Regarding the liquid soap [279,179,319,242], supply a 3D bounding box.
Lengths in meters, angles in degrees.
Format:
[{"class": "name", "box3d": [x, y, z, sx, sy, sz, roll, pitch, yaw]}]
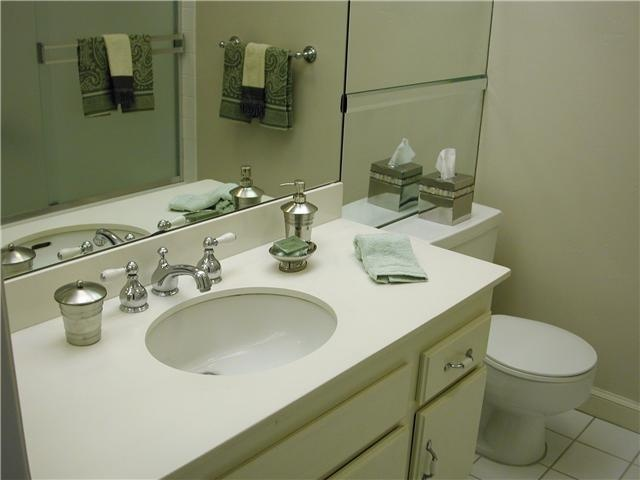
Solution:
[{"class": "liquid soap", "box3d": [-0.067, -0.093, 1.537, 0.103, 0.189, 0.144, -1, 23, -5]}]

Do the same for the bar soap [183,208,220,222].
[{"class": "bar soap", "box3d": [-0.336, -0.077, 1.424, 0.064, 0.014, 0.034, -19, 30, -39]}]

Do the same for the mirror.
[{"class": "mirror", "box3d": [-0.207, -0.267, 1.426, 1.068, 1.194, 0.019, 2, 19, 1]}]

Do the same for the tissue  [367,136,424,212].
[{"class": "tissue ", "box3d": [0.289, -0.270, 2.011, 0.185, 0.359, 0.190, 15, 25, 35]}]

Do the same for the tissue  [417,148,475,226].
[{"class": "tissue ", "box3d": [0.506, -0.213, 2.077, 0.193, 0.366, 0.190, -25, 33, -39]}]

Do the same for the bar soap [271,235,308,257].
[{"class": "bar soap", "box3d": [-0.077, 0.017, 1.448, 0.092, 0.028, 0.118, 17, 28, 31]}]
